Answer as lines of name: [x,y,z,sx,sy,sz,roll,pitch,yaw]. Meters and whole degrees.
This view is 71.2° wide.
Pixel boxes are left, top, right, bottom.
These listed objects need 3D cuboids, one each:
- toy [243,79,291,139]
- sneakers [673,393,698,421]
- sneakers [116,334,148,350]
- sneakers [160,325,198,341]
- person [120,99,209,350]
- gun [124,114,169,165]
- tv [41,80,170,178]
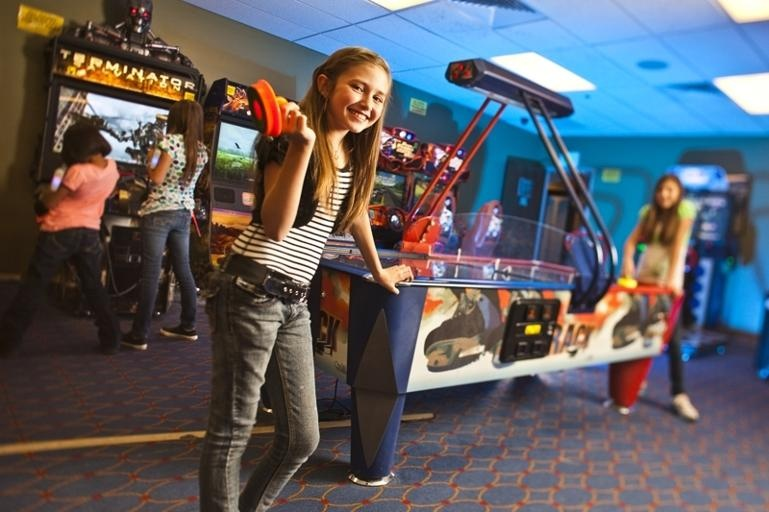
toy: [-0.481,-0.627,2.205,0.172,0.227,0.139,8,8,5]
sneakers: [2.429,1.222,4.368,0.148,0.091,0.248,-4,29,-5]
sneakers: [-2.014,0.689,4.274,0.262,0.106,0.101,18,9,23]
sneakers: [-1.780,0.655,4.671,0.337,0.128,0.121,10,-5,14]
person: [-1.765,-0.274,4.358,0.604,2.028,0.345,1,10,-40]
gun: [-2.314,-1.185,5.165,0.412,0.550,0.240,8,14,-21]
tv: [-2.511,-1.166,4.703,1.088,0.738,0.040,9,7,-40]
